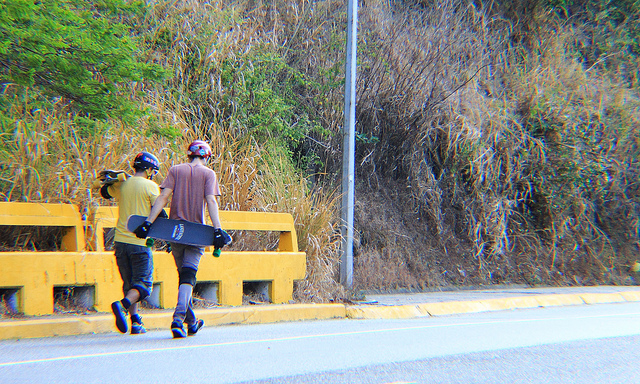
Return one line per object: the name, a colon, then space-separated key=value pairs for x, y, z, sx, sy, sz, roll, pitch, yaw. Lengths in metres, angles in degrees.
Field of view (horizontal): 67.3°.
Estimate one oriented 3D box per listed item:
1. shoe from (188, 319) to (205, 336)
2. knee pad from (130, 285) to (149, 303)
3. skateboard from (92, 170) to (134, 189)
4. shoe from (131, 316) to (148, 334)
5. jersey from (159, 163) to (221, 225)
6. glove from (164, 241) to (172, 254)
shoe: x=-2.402 y=2.614 z=9.373 sx=0.131 sy=0.185 sz=0.403 roll=11 pitch=20 yaw=14
knee pad: x=-3.371 y=1.904 z=9.012 sx=0.260 sy=0.291 sz=0.088 roll=1 pitch=7 yaw=33
skateboard: x=-4.172 y=-0.223 z=9.652 sx=0.786 sy=0.300 sz=0.370 roll=-7 pitch=-4 yaw=15
shoe: x=-3.453 y=2.612 z=9.281 sx=0.134 sy=0.297 sz=0.287 roll=3 pitch=-6 yaw=34
jersey: x=-2.512 y=0.090 z=9.250 sx=1.108 sy=1.198 sz=0.423 roll=8 pitch=4 yaw=-3
glove: x=-2.957 y=1.094 z=9.385 sx=0.152 sy=0.287 sz=0.347 roll=7 pitch=-3 yaw=-15
